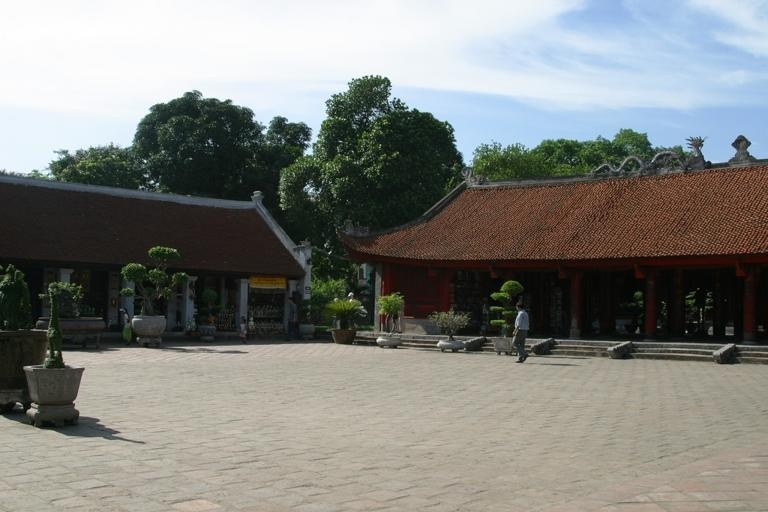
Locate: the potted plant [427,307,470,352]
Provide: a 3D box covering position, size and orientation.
[{"bbox_3d":[2.229,2.455,25.871,1.679,1.467,1.307,1,-2,8],"label":"potted plant"}]

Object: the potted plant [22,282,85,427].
[{"bbox_3d":[-5.540,1.630,12.839,1.181,2.207,1.029,2,-3,-13],"label":"potted plant"}]

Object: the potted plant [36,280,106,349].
[{"bbox_3d":[-9.222,1.703,22.407,2.193,1.818,2.031,-1,-10,11],"label":"potted plant"}]
